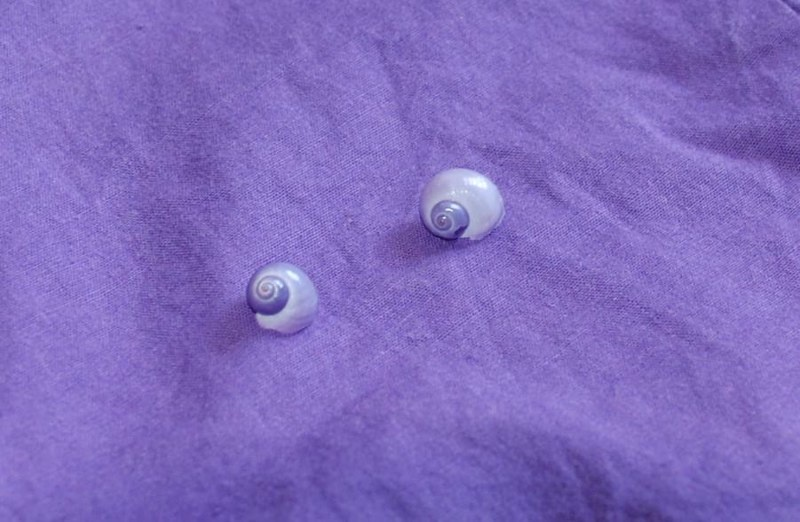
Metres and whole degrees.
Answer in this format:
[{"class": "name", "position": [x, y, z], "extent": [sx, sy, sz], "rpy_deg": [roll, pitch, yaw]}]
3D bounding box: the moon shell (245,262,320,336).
[{"class": "moon shell", "position": [-0.223, 0.070, 1.523], "extent": [0.122, 0.096, 0.126], "rpy_deg": [-1, 82, 2]}]
